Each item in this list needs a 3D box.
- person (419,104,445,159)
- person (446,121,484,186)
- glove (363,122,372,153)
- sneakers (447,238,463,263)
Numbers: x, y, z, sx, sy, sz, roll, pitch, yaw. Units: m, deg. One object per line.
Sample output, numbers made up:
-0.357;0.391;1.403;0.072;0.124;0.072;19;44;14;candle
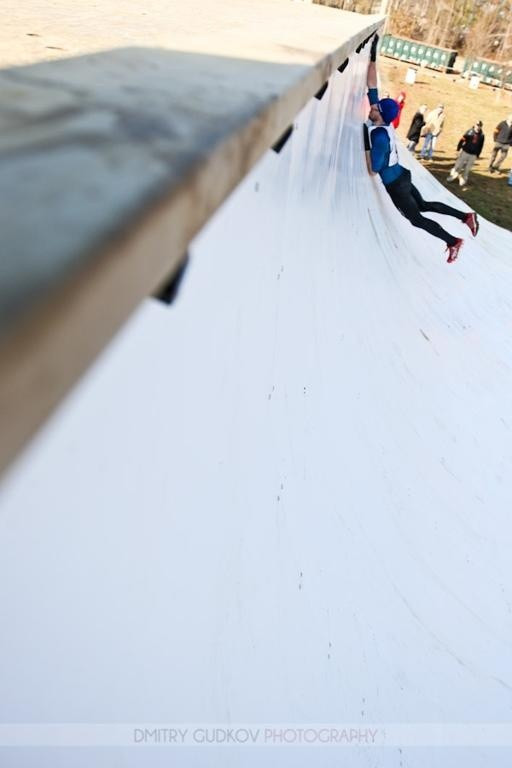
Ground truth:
3.164;-4.501;8.590;0.293;0.964;0.299;14;9;4;person
3.631;-3.975;8.248;0.332;1.101;0.288;15;57;13;person
0.626;-1.403;2.725;0.062;0.095;0.267;12;41;3;glove
1.251;-0.846;3.046;0.067;0.171;0.061;7;36;5;sneakers
